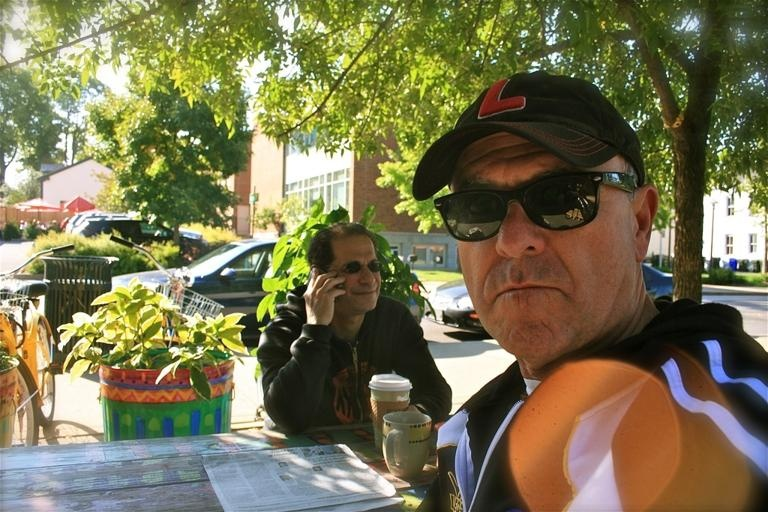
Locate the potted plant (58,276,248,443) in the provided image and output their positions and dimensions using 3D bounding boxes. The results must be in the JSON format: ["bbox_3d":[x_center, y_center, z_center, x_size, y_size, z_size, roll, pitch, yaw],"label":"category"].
[{"bbox_3d":[-1.611,0.725,4.799,1.138,1.273,1.209,-2,-3,13],"label":"potted plant"}]

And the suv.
[{"bbox_3d":[-6.621,-0.637,18.013,2.734,1.066,1.464,-3,8,-25],"label":"suv"}]

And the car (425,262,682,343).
[{"bbox_3d":[2.797,0.869,12.307,3.947,1.291,1.840,2,-2,-24],"label":"car"}]
